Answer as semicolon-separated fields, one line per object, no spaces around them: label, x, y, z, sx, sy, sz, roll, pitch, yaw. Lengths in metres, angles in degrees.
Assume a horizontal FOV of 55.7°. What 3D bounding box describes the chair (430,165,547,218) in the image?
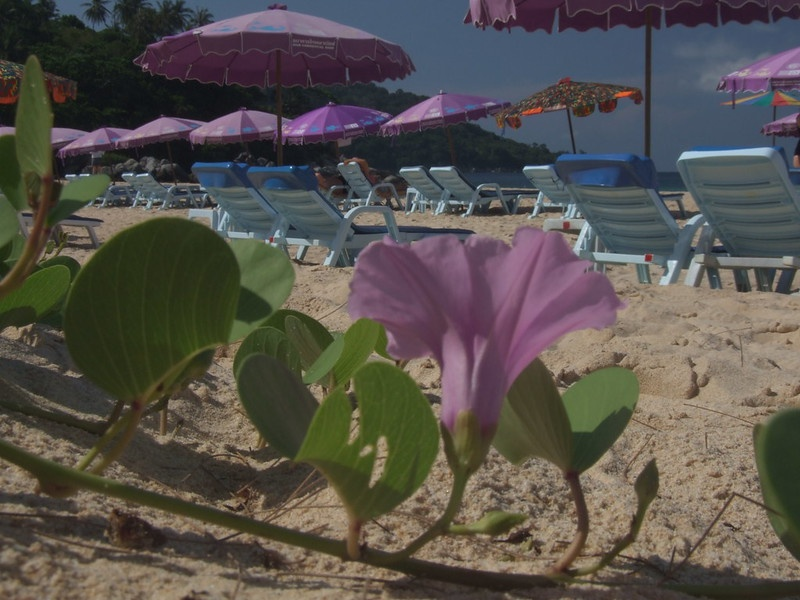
chair;1.468;-1.798;12.888;1.752;0.759;0.899;-10;14;-43

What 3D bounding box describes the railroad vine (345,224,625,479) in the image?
railroad vine;0.094;0.070;1.063;0.303;0.266;0.350;8;-16;-34

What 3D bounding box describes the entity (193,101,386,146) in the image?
entity;-2.224;-3.596;15.809;4.265;0.859;1.459;-15;19;-32

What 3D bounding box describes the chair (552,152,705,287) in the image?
chair;1.814;-0.598;5.776;0.966;1.036;1.437;5;10;36

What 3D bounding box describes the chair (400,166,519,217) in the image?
chair;0.917;-1.818;12.731;1.607;0.671;1.011;-10;15;-44
